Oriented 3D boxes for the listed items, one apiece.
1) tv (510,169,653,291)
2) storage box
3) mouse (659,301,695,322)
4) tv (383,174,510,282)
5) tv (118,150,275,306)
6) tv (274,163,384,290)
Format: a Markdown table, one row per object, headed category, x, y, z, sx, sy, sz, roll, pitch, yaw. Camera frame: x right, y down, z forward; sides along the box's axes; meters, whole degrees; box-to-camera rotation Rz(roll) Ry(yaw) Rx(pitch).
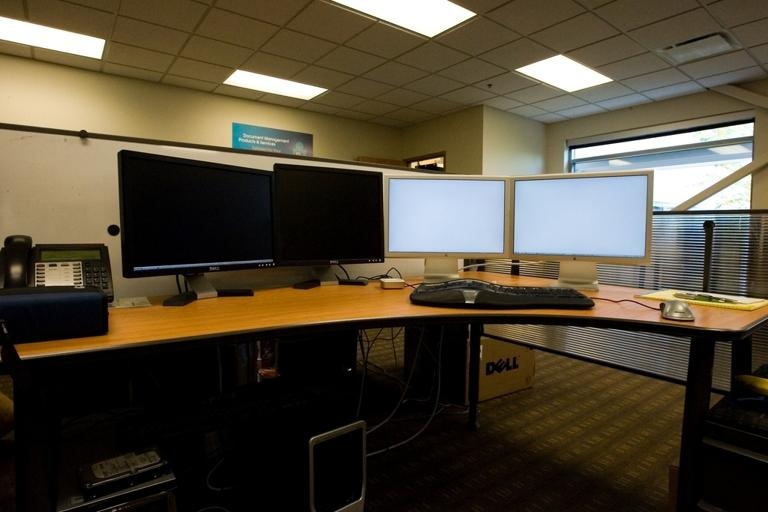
| category | x | y | z | sx | sy | sz | roll | pitch | yaw |
| --- | --- | --- | --- | --- | --- | --- | --- | --- | --- |
| tv | 1.054 | -0.129 | 2.846 | 0.775 | 0.611 | 0.299 | 3 | 5 | 40 |
| storage box | 0.751 | 0.758 | 3.474 | 0.537 | 0.303 | 0.292 | -1 | 4 | -33 |
| mouse | 1.279 | 0.239 | 2.312 | 0.150 | 0.078 | 0.121 | 3 | 6 | 41 |
| tv | 0.414 | -0.158 | 3.006 | 0.789 | 0.563 | 0.275 | 4 | 3 | 37 |
| tv | -0.910 | -0.132 | 2.488 | 0.888 | 0.692 | 0.274 | -3 | 2 | -41 |
| tv | -0.308 | -0.167 | 2.814 | 0.835 | 0.687 | 0.246 | -1 | -1 | -25 |
